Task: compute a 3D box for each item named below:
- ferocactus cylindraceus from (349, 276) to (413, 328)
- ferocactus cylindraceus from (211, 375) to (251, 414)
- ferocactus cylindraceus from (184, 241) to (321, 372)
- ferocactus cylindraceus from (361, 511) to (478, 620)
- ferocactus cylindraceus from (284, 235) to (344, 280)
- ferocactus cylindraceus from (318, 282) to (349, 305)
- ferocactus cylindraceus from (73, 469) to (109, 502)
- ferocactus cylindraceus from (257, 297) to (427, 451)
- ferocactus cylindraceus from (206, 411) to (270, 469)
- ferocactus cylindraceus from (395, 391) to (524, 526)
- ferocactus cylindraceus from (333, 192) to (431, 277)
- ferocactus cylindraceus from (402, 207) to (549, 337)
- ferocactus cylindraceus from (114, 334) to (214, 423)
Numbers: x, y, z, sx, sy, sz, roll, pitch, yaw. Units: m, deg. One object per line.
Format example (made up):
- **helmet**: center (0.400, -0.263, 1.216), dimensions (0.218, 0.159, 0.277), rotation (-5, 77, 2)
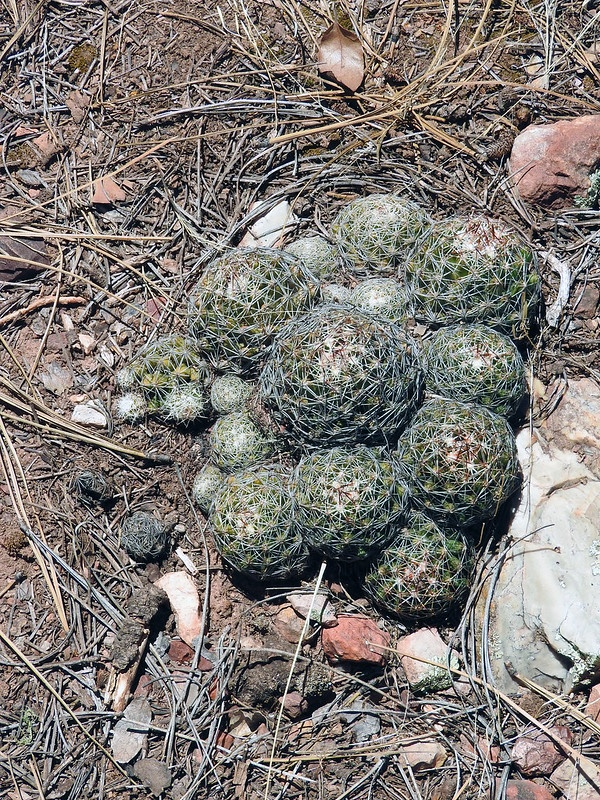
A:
- **ferocactus cylindraceus**: center (0.422, -0.501, 4.647), dimensions (0.260, 0.152, 0.251), rotation (-17, 79, -2)
- **ferocactus cylindraceus**: center (-0.355, -0.025, 4.638), dimensions (0.187, 0.130, 0.193), rotation (-2, 86, 9)
- **ferocactus cylindraceus**: center (-0.217, -0.420, 4.608), dimensions (0.633, 0.462, 0.587), rotation (4, 70, 4)
- **ferocactus cylindraceus**: center (0.589, 0.801, 4.467), dimensions (0.525, 0.215, 0.512), rotation (7, 98, -1)
- **ferocactus cylindraceus**: center (0.081, -0.771, 4.878), dimensions (0.232, 0.160, 0.269), rotation (-38, 91, -9)
- **ferocactus cylindraceus**: center (0.176, -0.543, 4.646), dimensions (0.123, 0.139, 0.077), rotation (1, 72, 5)
- **ferocactus cylindraceus**: center (-1.061, 0.449, 4.667), dimensions (0.161, 0.207, 0.123), rotation (-7, 62, 4)
- **ferocactus cylindraceus**: center (0.175, -0.097, 4.282), dimensions (0.802, 0.581, 0.609), rotation (1, 62, 7)
- **ferocactus cylindraceus**: center (-0.291, 0.271, 4.595), dimensions (0.348, 0.336, 0.220), rotation (-7, 57, 12)
- **ferocactus cylindraceus**: center (0.791, 0.189, 4.328), dimensions (0.394, 0.546, 0.551), rotation (42, 59, 11)
- **ferocactus cylindraceus**: center (0.400, -0.872, 4.697), dimensions (0.464, 0.157, 0.413), rotation (-1, 85, 11)
- **ferocactus cylindraceus**: center (0.853, -0.612, 4.537), dimensions (0.684, 0.492, 0.500), rotation (8, 63, 11)
- **ferocactus cylindraceus**: center (-0.710, -0.118, 4.750), dimensions (0.526, 0.298, 0.446), rotation (4, 62, 9)
